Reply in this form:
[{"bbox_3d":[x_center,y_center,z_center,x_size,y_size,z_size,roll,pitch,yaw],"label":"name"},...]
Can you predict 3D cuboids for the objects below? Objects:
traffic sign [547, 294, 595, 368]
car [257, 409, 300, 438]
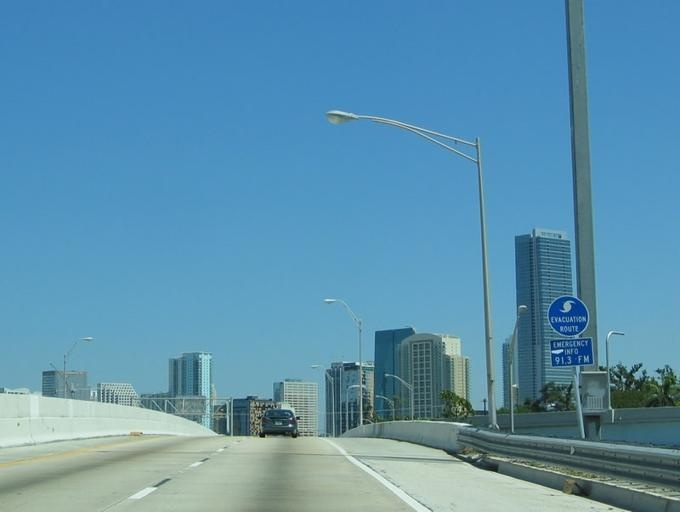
[{"bbox_3d":[6.301,2.054,29.624,1.172,1.938,1.145,0,-5,13],"label":"traffic sign"},{"bbox_3d":[-2.970,8.183,52.971,1.742,1.323,1.302,2,-5,-8],"label":"car"}]
